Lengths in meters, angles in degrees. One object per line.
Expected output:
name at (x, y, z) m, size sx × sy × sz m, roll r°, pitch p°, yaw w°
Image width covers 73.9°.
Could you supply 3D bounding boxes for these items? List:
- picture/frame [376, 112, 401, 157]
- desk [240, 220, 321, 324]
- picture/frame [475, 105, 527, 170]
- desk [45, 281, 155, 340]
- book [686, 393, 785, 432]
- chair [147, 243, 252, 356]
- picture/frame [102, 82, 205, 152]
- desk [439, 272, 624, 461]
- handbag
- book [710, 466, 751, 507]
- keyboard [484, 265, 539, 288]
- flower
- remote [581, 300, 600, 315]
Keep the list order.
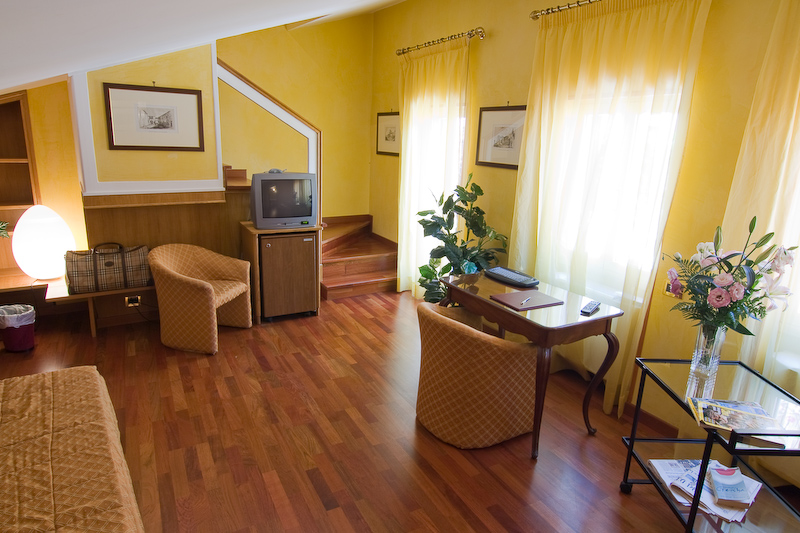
picture/frame at (-0.130, -1.716, 6.909) m, size 0.019 × 0.512 × 0.604 m, roll 16°, pitch 21°, yaw 27°
desk at (-1.289, 0.031, 5.570) m, size 0.793 × 0.926 × 0.698 m, roll -11°, pitch 18°, yaw -41°
picture/frame at (0.991, -1.241, 5.069) m, size 0.041 × 0.552 × 0.645 m, roll -13°, pitch 25°, yaw -32°
desk at (-2.830, 0.206, 5.048) m, size 0.861 × 0.384 × 0.562 m, roll -10°, pitch 21°, yaw -35°
book at (1.945, 0.843, 3.011) m, size 0.530 × 0.059 × 0.284 m, roll 1°, pitch 15°, yaw -1°
chair at (-1.900, 0.254, 4.989) m, size 0.711 × 0.825 × 0.757 m, roll 7°, pitch 15°, yaw 11°
picture/frame at (-2.248, -1.347, 4.745) m, size 0.679 × 0.483 × 0.025 m, roll -4°, pitch 12°, yaw -28°
desk at (0.962, 0.663, 4.278) m, size 0.747 × 0.977 × 1.391 m, roll -7°, pitch 17°, yaw -24°
handbag at (-2.693, 0.014, 4.923) m, size 0.678 × 0.464 × 0.253 m, roll -6°, pitch 1°, yaw -26°
book at (1.951, 1.285, 3.140) m, size 0.196 × 0.097 × 0.233 m, roll 5°, pitch 15°, yaw 11°
keyboard at (0.898, 0.085, 4.224) m, size 0.179 × 0.072 × 0.304 m, roll -8°, pitch 19°, yaw -28°
flower at (1.976, 0.051, 3.584) m, size 0.903 × 0.909 × 0.868 m, roll 4°, pitch 9°, yaw 23°
remote at (1.385, 0.283, 3.816) m, size 0.071 × 0.051 × 0.248 m, roll 12°, pitch 28°, yaw 42°
